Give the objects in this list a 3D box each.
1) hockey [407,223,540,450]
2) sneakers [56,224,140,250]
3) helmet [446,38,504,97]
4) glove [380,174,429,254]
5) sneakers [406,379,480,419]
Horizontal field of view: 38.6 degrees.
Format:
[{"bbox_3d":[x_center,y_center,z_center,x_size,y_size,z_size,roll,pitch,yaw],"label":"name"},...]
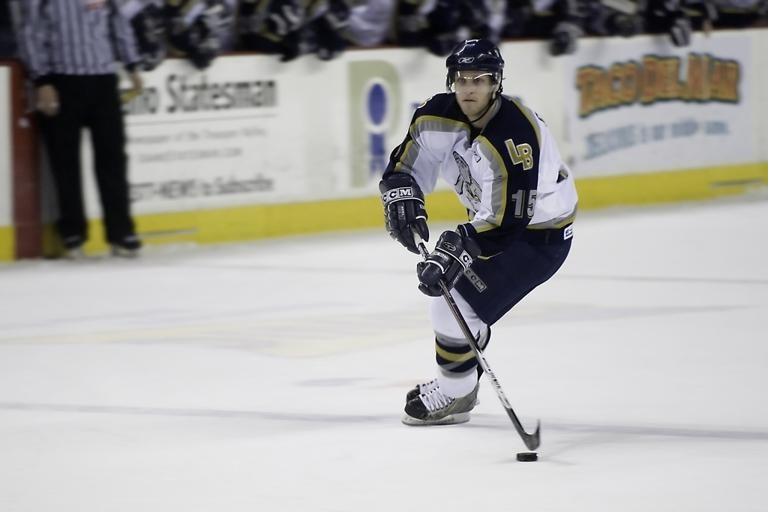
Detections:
[{"bbox_3d":[0.455,0.435,5.530,0.086,1.291,0.227,-39,-3,21],"label":"hockey"},{"bbox_3d":[-1.964,-0.100,7.614,0.619,0.234,0.195,5,-3,-18],"label":"sneakers"},{"bbox_3d":[0.447,-0.951,5.465,0.242,0.218,0.297,-1,2,15],"label":"helmet"},{"bbox_3d":[0.105,-0.201,5.713,0.259,0.403,0.143,-15,-13,-3],"label":"glove"},{"bbox_3d":[0.294,0.729,5.517,0.369,0.165,0.171,0,38,-11],"label":"sneakers"}]
